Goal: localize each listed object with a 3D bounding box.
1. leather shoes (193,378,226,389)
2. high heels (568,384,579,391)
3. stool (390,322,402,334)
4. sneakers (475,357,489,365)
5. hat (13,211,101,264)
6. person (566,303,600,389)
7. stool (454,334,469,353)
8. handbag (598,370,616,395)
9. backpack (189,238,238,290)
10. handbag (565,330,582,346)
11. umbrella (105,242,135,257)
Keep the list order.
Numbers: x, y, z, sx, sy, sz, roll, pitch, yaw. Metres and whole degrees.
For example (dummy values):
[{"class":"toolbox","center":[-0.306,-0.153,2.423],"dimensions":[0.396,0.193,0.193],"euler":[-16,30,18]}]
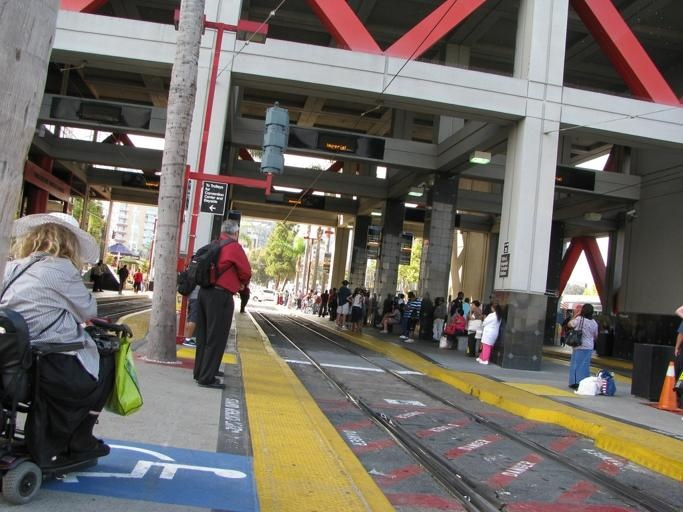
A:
[{"class":"leather shoes","center":[-1.765,1.700,6.680],"dimensions":[0.354,0.157,0.174],"euler":[3,3,-23]},{"class":"high heels","center":[5.433,3.045,11.479],"dimensions":[0.109,0.090,0.203],"euler":[1,-9,-10]},{"class":"stool","center":[2.784,3.745,25.240],"dimensions":[0.565,0.585,0.423],"euler":[2,-15,-4]},{"class":"sneakers","center":[4.265,3.180,14.967],"dimensions":[0.139,0.158,0.355],"euler":[1,-2,-16]},{"class":"hat","center":[-1.875,-0.183,3.303],"dimensions":[0.444,0.131,0.444],"euler":[31,-44,-3]},{"class":"person","center":[5.549,2.081,11.421],"dimensions":[0.583,1.999,0.914],"euler":[5,-4,28]},{"class":"stool","center":[4.702,3.358,18.920],"dimensions":[0.578,0.618,0.444],"euler":[2,-7,-14]},{"class":"handbag","center":[5.930,2.798,11.055],"dimensions":[0.170,0.576,0.397],"euler":[-19,-37,42]},{"class":"backpack","center":[-1.747,0.119,6.665],"dimensions":[0.590,0.591,0.458],"euler":[1,-2,-27]},{"class":"handbag","center":[5.303,1.867,11.227],"dimensions":[0.172,0.358,0.342],"euler":[14,-12,-33]},{"class":"umbrella","center":[-19.214,-0.786,42.492],"dimensions":[1.504,0.670,1.491],"euler":[2,-7,6]}]
